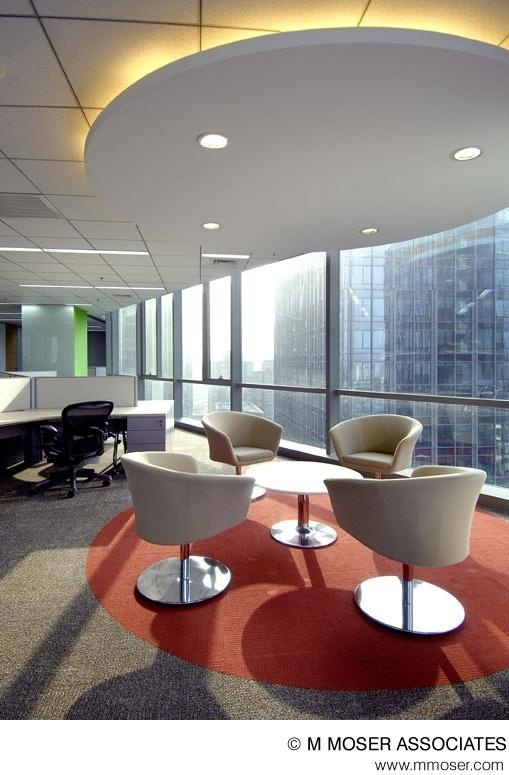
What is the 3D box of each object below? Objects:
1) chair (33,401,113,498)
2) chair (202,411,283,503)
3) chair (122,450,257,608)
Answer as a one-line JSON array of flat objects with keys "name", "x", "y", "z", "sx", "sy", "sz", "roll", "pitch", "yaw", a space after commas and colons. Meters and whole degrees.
[{"name": "chair", "x": -1.593, "y": 0.526, "z": 4.960, "sx": 0.651, "sy": 0.856, "sz": 0.759, "roll": 1, "pitch": 6, "yaw": 9}, {"name": "chair", "x": -0.130, "y": 0.604, "z": 4.668, "sx": 0.635, "sy": 0.739, "sz": 0.509, "roll": -4, "pitch": 5, "yaw": -35}, {"name": "chair", "x": -0.379, "y": 0.706, "z": 2.919, "sx": 0.648, "sy": 0.735, "sz": 0.682, "roll": -4, "pitch": 7, "yaw": -44}]
